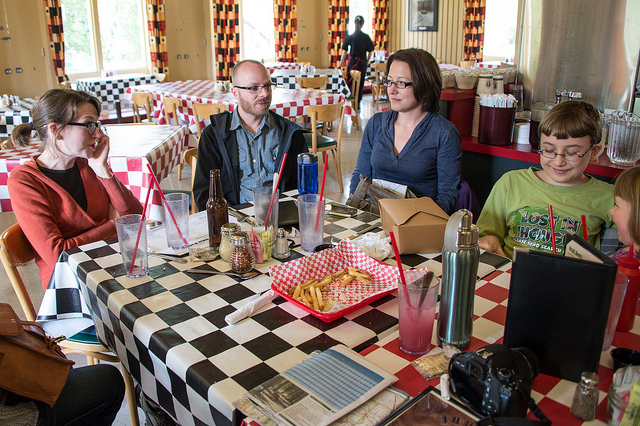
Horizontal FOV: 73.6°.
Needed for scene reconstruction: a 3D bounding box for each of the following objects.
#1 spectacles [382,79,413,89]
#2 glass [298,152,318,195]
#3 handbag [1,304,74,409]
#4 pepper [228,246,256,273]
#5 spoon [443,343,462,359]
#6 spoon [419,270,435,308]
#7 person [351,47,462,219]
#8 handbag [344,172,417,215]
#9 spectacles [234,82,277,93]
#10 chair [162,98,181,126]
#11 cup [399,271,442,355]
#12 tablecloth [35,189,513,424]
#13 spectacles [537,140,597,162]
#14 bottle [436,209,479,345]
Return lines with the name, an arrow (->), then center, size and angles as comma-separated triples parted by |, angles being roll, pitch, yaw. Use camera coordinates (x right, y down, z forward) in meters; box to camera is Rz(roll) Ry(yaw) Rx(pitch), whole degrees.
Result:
spectacles -> 0.427, -0.738, 2.449 | 0.199, 0.050, 0.064 | 16, 28, 42
glass -> -0.060, -0.200, 2.178 | 0.121, 0.201, 0.118 | -12, 23, -28
handbag -> -0.970, 0.477, 1.458 | 0.195, 0.333, 0.274 | -16, 24, -30
pepper -> -0.284, 0.166, 1.601 | 0.093, 0.090, 0.092 | 5, 14, 12
spoon -> 0.378, 0.390, 1.216 | 0.028, 0.013, 0.039 | -22, 35, -33
spoon -> 0.300, 0.200, 1.205 | 0.029, 0.019, 0.133 | 22, 52, 6
person -> 0.486, -0.401, 2.540 | 0.645, 1.033, 0.545 | 10, 26, 26
handbag -> 0.319, -0.101, 2.183 | 0.202, 0.162, 0.104 | 26, 8, -4
spectacles -> -0.365, -0.731, 2.522 | 0.171, 0.038, 0.062 | -13, 23, -27
chair -> -1.565, -1.074, 4.525 | 0.148, 0.283, 0.359 | -11, 22, -20
cup -> 0.275, 0.280, 1.236 | 0.115, 0.229, 0.112 | -3, 21, 1
tablecloth -> -0.374, 0.344, 1.886 | 1.491, 0.804, 1.066 | -1, -8, -1
spectacles -> 1.129, -0.275, 1.955 | 0.211, 0.059, 0.093 | 5, 22, 20
bottle -> 0.400, 0.174, 1.236 | 0.103, 0.399, 0.172 | 5, 22, 20
